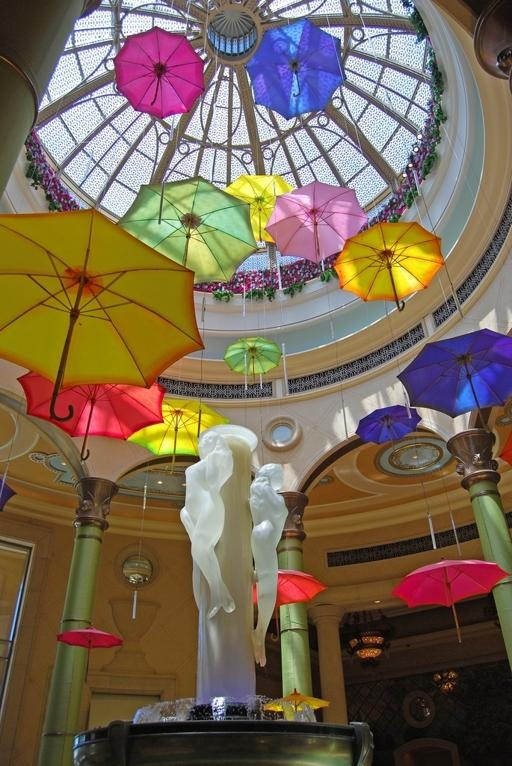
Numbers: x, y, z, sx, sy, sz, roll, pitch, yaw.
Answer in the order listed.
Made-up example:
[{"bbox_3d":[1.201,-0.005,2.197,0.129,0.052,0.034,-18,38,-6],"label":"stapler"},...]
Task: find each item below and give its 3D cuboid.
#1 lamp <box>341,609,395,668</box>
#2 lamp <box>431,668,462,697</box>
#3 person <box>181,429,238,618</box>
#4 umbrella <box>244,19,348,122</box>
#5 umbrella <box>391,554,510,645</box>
[{"bbox_3d":[3.129,6.980,13.215,0.932,1.238,0.953,5,9,-7],"label":"lamp"},{"bbox_3d":[5.673,8.901,14.253,0.663,0.966,0.395,3,8,22],"label":"lamp"},{"bbox_3d":[-0.314,0.815,2.994,0.351,1.187,0.248,-7,-34,6],"label":"person"},{"bbox_3d":[0.746,-5.982,9.156,1.757,0.730,1.465,-17,-37,18],"label":"umbrella"},{"bbox_3d":[2.876,3.162,7.214,1.016,1.113,2.052,4,-36,-10],"label":"umbrella"}]
